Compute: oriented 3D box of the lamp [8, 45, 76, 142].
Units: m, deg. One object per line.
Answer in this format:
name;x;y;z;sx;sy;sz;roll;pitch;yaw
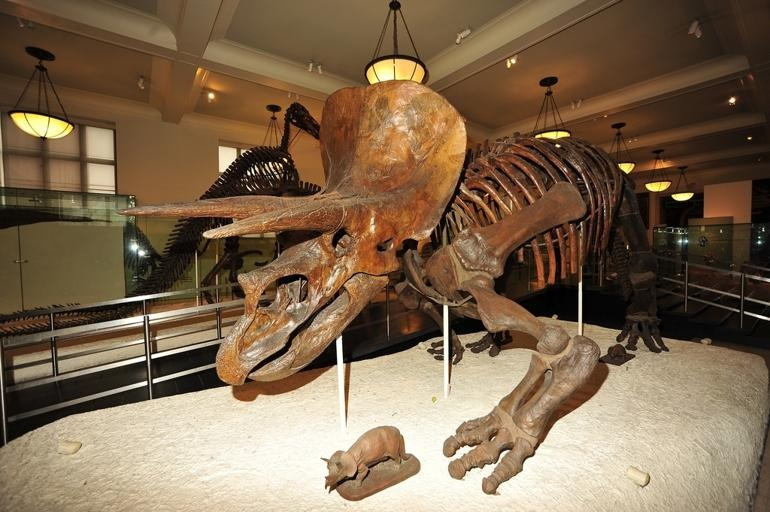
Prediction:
lamp;-5.479;-2.589;7.763;0.869;1.311;0.839;-1;1;-35
